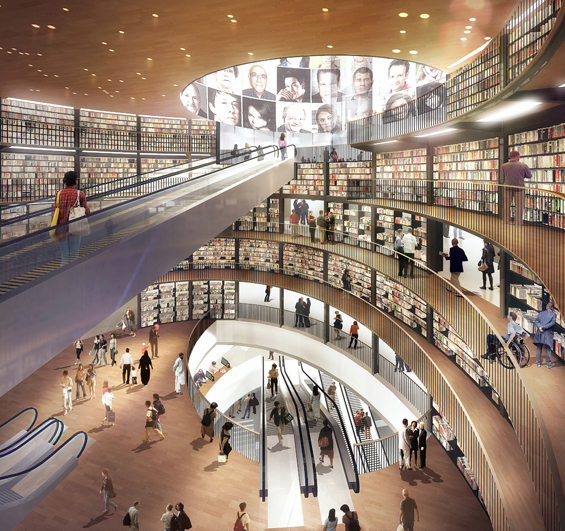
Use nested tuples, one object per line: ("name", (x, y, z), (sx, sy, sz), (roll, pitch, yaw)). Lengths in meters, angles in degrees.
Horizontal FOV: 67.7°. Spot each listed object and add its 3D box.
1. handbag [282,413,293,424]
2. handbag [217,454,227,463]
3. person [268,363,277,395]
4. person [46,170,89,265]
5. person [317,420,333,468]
("handbag", (0.148, 4.773, 13.135), (0.365, 0.087, 0.398), (31, -51, 40))
("handbag", (-1.600, 5.036, 11.058), (0.173, 0.191, 0.163), (1, -84, 10))
("person", (-0.392, 4.672, 17.567), (0.435, 1.253, 1.070), (3, -52, 3))
("person", (-3.265, -0.736, 6.487), (0.522, 0.321, 1.447), (-2, -63, -36))
("person", (1.172, 4.627, 11.176), (0.378, 0.412, 1.371), (1, -70, 17))
